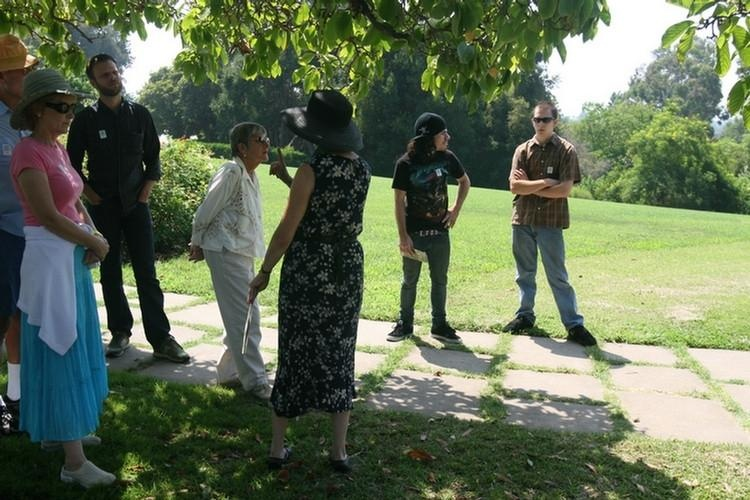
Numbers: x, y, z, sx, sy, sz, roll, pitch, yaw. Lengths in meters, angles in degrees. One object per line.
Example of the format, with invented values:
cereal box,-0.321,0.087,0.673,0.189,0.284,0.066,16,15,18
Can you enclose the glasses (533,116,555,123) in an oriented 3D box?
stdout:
glasses,2.055,-1.599,7.883,0.274,0.075,0.130,8,15,25

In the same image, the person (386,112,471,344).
person,0.644,-0.274,7.794,0.902,2.692,0.913,3,13,7

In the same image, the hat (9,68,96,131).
hat,-2.642,-1.253,5.153,0.467,0.255,0.480,-17,-6,-12

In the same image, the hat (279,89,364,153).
hat,-0.411,-0.908,5.169,0.553,0.291,0.525,39,47,16

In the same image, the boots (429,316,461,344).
boots,0.909,0.995,7.737,0.475,0.227,0.162,7,7,44

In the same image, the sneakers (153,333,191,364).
sneakers,-2.186,1.091,6.895,0.497,0.235,0.196,1,0,31

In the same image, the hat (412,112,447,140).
hat,0.649,-1.454,7.540,0.332,0.279,0.247,4,14,11

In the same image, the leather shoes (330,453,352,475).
leather shoes,-0.281,1.752,5.193,0.179,0.085,0.095,1,3,-8

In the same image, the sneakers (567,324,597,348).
sneakers,2.464,1.035,7.669,0.172,0.166,0.358,-8,8,-35

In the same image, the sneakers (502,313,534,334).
sneakers,1.828,0.948,8.079,0.450,0.210,0.180,-1,1,-27

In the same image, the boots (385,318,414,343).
boots,0.298,1.002,7.788,0.146,0.188,0.437,-1,-7,29

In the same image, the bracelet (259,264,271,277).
bracelet,-0.890,0.160,5.185,0.094,0.116,0.174,-2,14,-11

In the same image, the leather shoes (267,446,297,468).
leather shoes,-0.778,1.704,5.274,0.088,0.091,0.236,2,6,11

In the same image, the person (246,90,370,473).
person,-0.524,0.247,5.191,0.931,2.990,0.727,0,13,-3

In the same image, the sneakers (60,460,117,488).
sneakers,-2.221,1.723,4.970,0.363,0.158,0.182,4,-3,-4
